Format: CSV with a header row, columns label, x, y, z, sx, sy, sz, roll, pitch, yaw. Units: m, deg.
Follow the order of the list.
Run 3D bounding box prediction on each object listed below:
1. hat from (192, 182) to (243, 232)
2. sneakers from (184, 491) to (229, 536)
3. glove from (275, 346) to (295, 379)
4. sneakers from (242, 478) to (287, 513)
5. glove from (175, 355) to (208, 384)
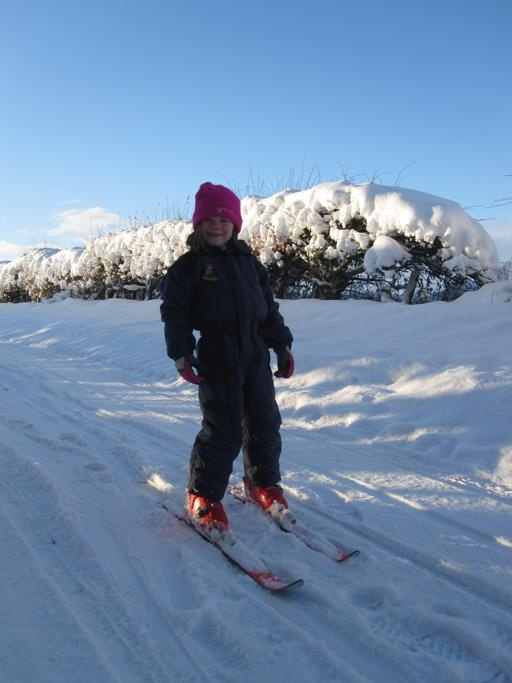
label,x,y,z,sx,sy,sz,roll,pitch,yaw
hat,-0.188,-0.637,2.823,0.248,0.206,0.221,4,4,-2
sneakers,-0.213,0.759,2.594,0.090,0.095,0.235,5,4,-44
glove,0.144,0.109,3.014,0.148,0.137,0.062,1,8,-14
sneakers,0.062,0.749,2.869,0.252,0.101,0.085,14,7,43
glove,-0.282,0.135,2.600,0.122,0.153,0.185,5,9,7
